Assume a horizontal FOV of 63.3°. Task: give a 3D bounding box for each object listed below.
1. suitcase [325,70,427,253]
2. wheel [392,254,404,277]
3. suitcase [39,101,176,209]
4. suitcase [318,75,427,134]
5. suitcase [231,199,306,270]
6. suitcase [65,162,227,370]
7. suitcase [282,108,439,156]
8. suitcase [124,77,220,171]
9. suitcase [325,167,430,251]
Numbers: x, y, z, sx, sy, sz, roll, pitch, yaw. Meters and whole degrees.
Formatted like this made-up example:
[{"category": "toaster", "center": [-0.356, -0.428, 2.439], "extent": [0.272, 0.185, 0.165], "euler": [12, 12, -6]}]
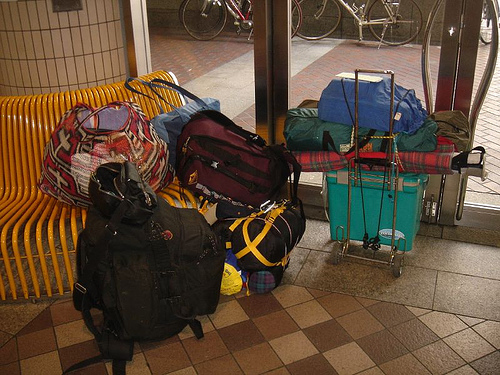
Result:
[{"category": "suitcase", "center": [0.902, -0.146, 2.892], "extent": [0.678, 1.379, 0.422], "euler": [9, 25, 24]}, {"category": "wheel", "center": [1.056, 0.556, 2.881], "extent": [0.069, 0.144, 0.141], "euler": [6, 8, 16]}, {"category": "suitcase", "center": [-1.000, -0.279, 2.828], "extent": [0.906, 0.667, 0.490], "euler": [-7, 27, -26]}, {"category": "suitcase", "center": [0.824, -0.584, 2.741], "extent": [0.605, 0.230, 0.396], "euler": [8, 42, 19]}, {"category": "suitcase", "center": [0.149, 0.330, 2.816], "extent": [0.281, 0.337, 0.571], "euler": [17, 29, 37]}, {"category": "suitcase", "center": [-0.443, 0.326, 2.665], "extent": [1.167, 1.185, 0.882], "euler": [-7, 37, -10]}, {"category": "suitcase", "center": [0.747, -0.382, 2.852], "extent": [0.701, 0.209, 0.433], "euler": [5, 19, 20]}, {"category": "suitcase", "center": [-0.602, -0.454, 3.006], "extent": [0.252, 0.567, 0.655], "euler": [-28, 8, 21]}, {"category": "suitcase", "center": [0.961, 0.128, 3.124], "extent": [0.690, 0.527, 0.419], "euler": [7, 12, 30]}]
